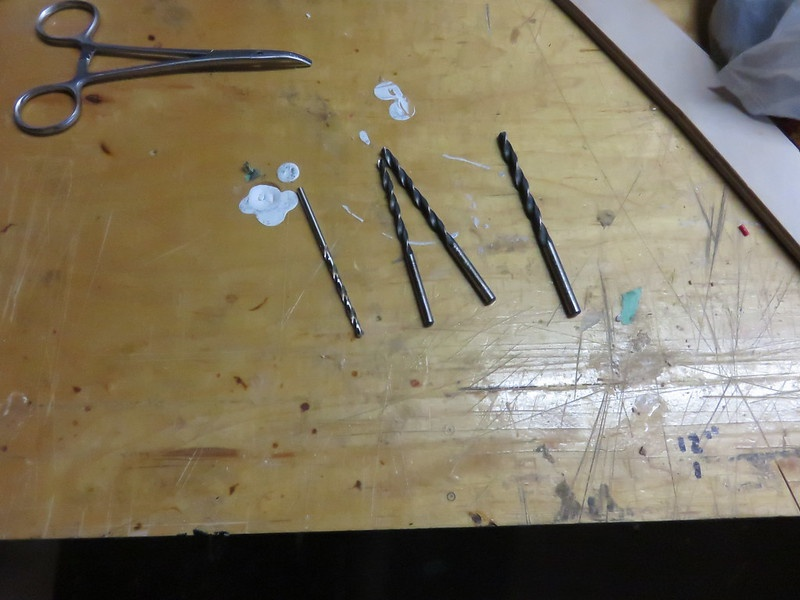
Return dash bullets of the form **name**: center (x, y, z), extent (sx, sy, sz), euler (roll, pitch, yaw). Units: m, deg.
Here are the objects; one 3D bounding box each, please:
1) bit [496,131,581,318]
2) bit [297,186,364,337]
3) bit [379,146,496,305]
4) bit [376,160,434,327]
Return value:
- **bit**: center (0.302, -0.149, 2.066), extent (0.057, 0.037, 0.421), euler (-22, 77, 15)
- **bit**: center (-0.152, -0.071, 2.040), extent (0.028, 0.041, 0.324), euler (-15, 72, -29)
- **bit**: center (0.079, -0.149, 2.065), extent (0.046, 0.033, 0.373), euler (-18, 71, -30)
- **bit**: center (0.011, -0.109, 2.052), extent (0.030, 0.037, 0.363), euler (-4, 76, -43)
